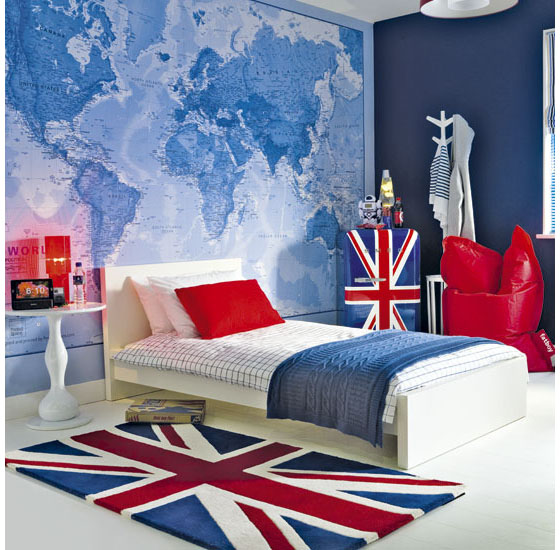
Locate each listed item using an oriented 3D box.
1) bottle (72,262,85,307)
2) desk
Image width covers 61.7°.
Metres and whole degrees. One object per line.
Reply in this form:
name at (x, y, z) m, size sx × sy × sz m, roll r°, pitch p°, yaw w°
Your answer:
bottle at (-1.555, 0.057, 3.638) m, size 0.086 × 0.322 × 0.293 m, roll -2°, pitch 2°, yaw -24°
desk at (-1.588, 0.657, 3.727) m, size 0.765 × 0.858 × 0.820 m, roll -2°, pitch 1°, yaw -42°
